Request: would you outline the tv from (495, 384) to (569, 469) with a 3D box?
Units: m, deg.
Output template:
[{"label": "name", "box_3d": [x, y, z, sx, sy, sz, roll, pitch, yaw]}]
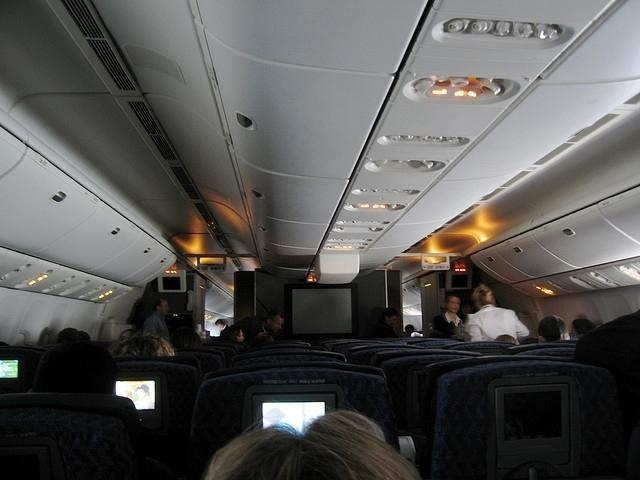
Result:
[{"label": "tv", "box_3d": [0.851, 0.738, 1.556, 0.318, 0.315, 0.092, 1, -19, -4]}]

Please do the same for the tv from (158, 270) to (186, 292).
[{"label": "tv", "box_3d": [-4.970, 1.357, 13.128, 1.262, 0.789, 0.570, 0, -1, -1]}]

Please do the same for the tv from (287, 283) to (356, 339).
[{"label": "tv", "box_3d": [0.053, 2.394, 12.853, 3.090, 1.901, 0.625, 1, -2, 1]}]
